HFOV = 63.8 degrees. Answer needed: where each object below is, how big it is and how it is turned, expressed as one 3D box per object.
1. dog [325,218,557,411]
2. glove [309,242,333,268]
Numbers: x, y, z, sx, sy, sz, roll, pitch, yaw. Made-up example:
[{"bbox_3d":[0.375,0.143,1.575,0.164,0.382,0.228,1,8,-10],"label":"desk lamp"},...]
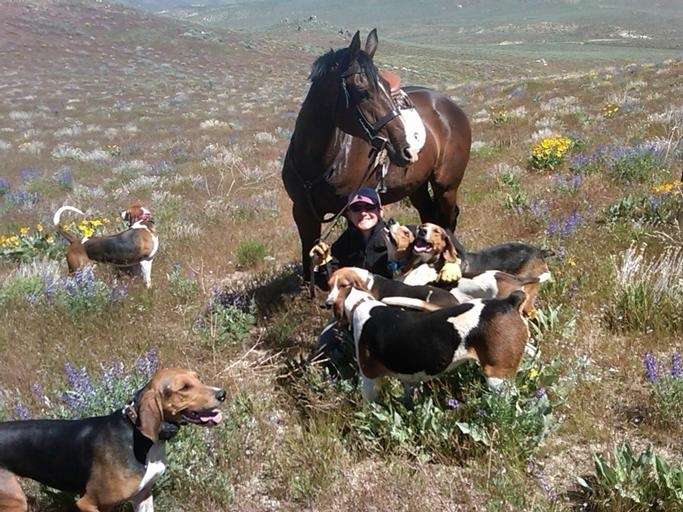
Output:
[{"bbox_3d":[0.810,0.813,5.430,1.934,1.335,0.788,11,32,22],"label":"dog"},{"bbox_3d":[-0.246,0.001,6.533,0.149,0.332,0.210,12,64,0],"label":"glove"}]
